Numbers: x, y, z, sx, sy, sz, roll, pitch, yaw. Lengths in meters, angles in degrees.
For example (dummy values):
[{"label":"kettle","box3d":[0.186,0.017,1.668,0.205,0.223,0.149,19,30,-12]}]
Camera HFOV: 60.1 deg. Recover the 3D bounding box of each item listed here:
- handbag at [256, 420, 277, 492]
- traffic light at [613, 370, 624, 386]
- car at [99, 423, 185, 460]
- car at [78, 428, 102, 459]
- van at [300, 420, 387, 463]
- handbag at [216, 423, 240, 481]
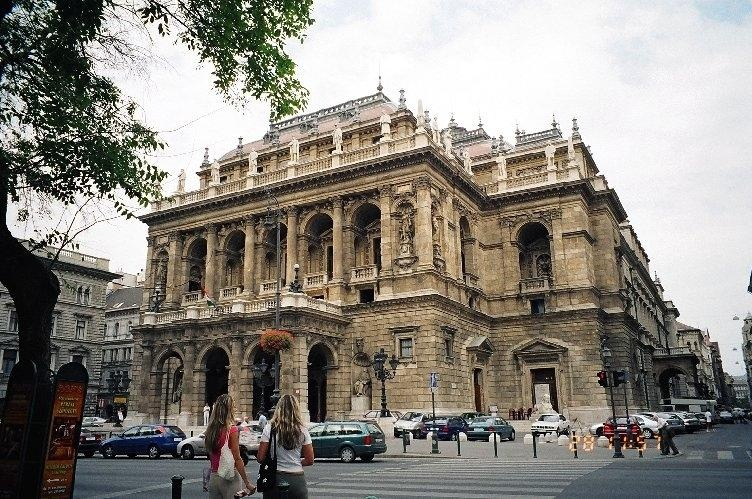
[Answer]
[{"label":"handbag","box3d":[-2.303,4.518,13.908,0.493,1.333,0.251,-17,-26,32]},{"label":"traffic light","box3d":[12.165,6.461,32.672,0.494,0.767,1.331,-13,-23,24]},{"label":"car","box3d":[-12.270,10.300,34.668,4.617,1.792,1.093,-9,-23,17]},{"label":"car","box3d":[-16.588,11.245,37.684,1.058,1.792,3.004,7,-23,-23]},{"label":"van","box3d":[-1.249,8.757,29.896,4.314,1.401,1.964,-3,-21,14]},{"label":"handbag","box3d":[-3.370,4.750,14.682,0.409,0.897,0.256,2,-22,-11]}]
